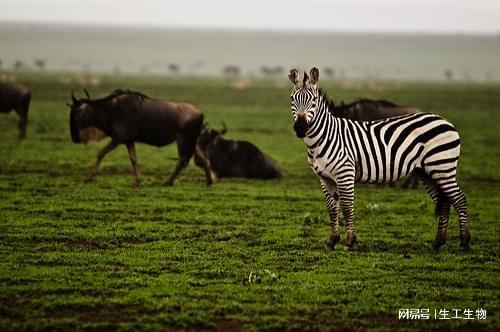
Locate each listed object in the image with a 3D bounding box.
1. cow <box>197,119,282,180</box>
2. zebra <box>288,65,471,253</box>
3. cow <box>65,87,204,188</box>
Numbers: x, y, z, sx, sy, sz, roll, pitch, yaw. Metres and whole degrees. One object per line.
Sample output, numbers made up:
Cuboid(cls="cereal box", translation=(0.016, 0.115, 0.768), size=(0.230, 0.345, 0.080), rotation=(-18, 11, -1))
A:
Cuboid(cls="cow", translation=(-0.365, -0.176, 23.115), size=(3.137, 1.690, 0.947), rotation=(22, -1, -16))
Cuboid(cls="zebra", translation=(2.947, -0.055, 18.808), size=(5.156, 4.093, 1.487), rotation=(4, -5, -18))
Cuboid(cls="cow", translation=(-3.178, -0.771, 20.997), size=(3.815, 2.635, 0.906), rotation=(3, 3, -1))
